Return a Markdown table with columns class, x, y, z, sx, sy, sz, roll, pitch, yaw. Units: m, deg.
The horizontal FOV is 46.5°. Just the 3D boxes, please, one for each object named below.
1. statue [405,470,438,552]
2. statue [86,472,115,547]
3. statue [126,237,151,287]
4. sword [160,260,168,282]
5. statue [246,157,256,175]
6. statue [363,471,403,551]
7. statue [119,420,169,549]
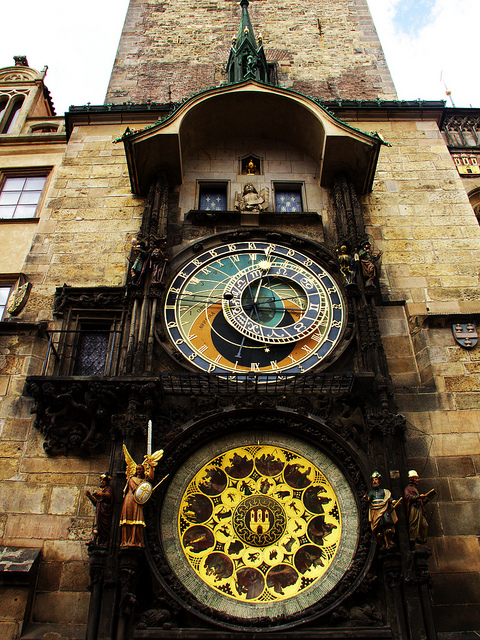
| class | x | y | z | sx | sy | sz | roll | pitch | yaw |
| --- | --- | --- | --- | --- | --- | --- | --- | --- | --- |
| statue | 2.622 | 2.744 | 8.106 | 0.308 | 1.110 | 0.429 | 22 | -39 | -34 |
| statue | -2.041 | 2.752 | 8.123 | 0.395 | 1.075 | 0.316 | 10 | -33 | -19 |
| statue | -2.088 | -1.183 | 11.642 | 0.416 | 1.295 | 0.240 | -2 | -32 | 1 |
| sword | -1.621 | -1.011 | 11.782 | 0.119 | 0.550 | 0.097 | 24 | -37 | -13 |
| statue | 0.277 | -4.056 | 14.845 | 0.255 | 0.598 | 0.109 | -2 | -32 | 0 |
| statue | 2.061 | 2.760 | 8.065 | 0.504 | 1.062 | 0.325 | -7 | -32 | 9 |
| statue | -1.467 | 2.382 | 8.258 | 0.582 | 1.899 | 0.423 | 4 | -32 | -10 |
